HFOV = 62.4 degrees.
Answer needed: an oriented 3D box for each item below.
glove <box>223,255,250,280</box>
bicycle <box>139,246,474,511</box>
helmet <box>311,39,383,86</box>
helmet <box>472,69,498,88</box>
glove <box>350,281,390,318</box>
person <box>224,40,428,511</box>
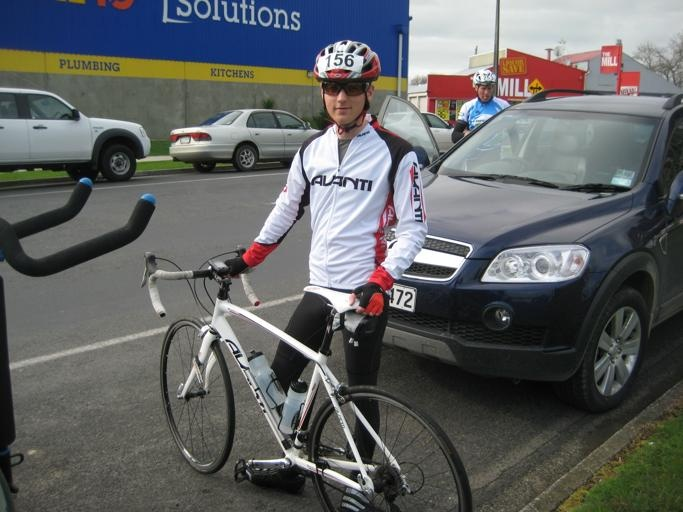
[{"bbox_3d":[-0.582,0.063,3.074,0.104,0.057,0.114,-9,6,11],"label":"glove"},{"bbox_3d":[-0.169,0.761,3.297,1.927,1.315,0.657,21,19,35],"label":"bicycle"},{"bbox_3d":[0.021,-1.036,2.992,0.343,0.207,0.513,4,18,15],"label":"helmet"},{"bbox_3d":[1.982,-2.478,7.856,0.275,0.328,0.403,-7,16,-13],"label":"helmet"},{"bbox_3d":[0.132,0.193,2.606,0.164,0.139,0.133,2,20,-1],"label":"glove"},{"bbox_3d":[-0.035,0.162,2.987,0.947,2.420,0.744,14,21,30],"label":"person"}]
